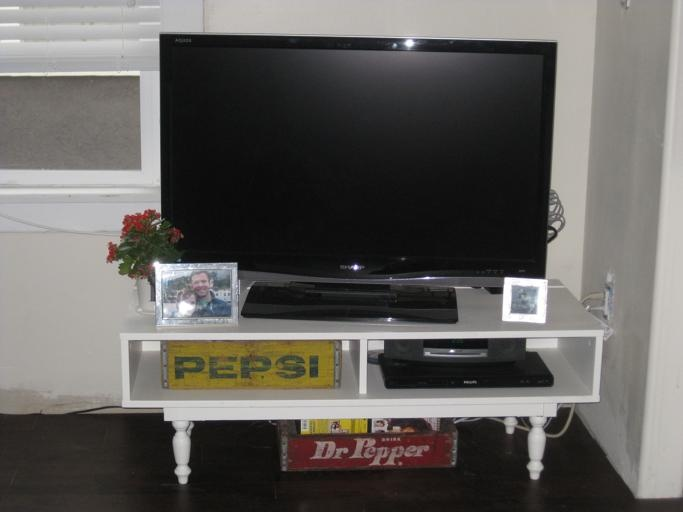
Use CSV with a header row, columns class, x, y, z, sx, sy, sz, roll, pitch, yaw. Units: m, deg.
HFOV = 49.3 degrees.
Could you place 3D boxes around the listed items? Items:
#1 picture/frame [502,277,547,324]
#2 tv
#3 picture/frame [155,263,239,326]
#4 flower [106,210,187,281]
class,x,y,z,sx,sy,sz,roll,pitch,yaw
picture/frame,0.682,0.166,2.755,0.174,0.167,0.019,0,2,3
tv,0.050,-0.314,2.776,1.100,0.736,0.319,1,8,1
picture/frame,-0.535,0.144,2.706,0.235,0.178,0.017,-1,5,-2
flower,-0.714,-0.044,2.779,0.204,0.250,0.242,2,7,33
